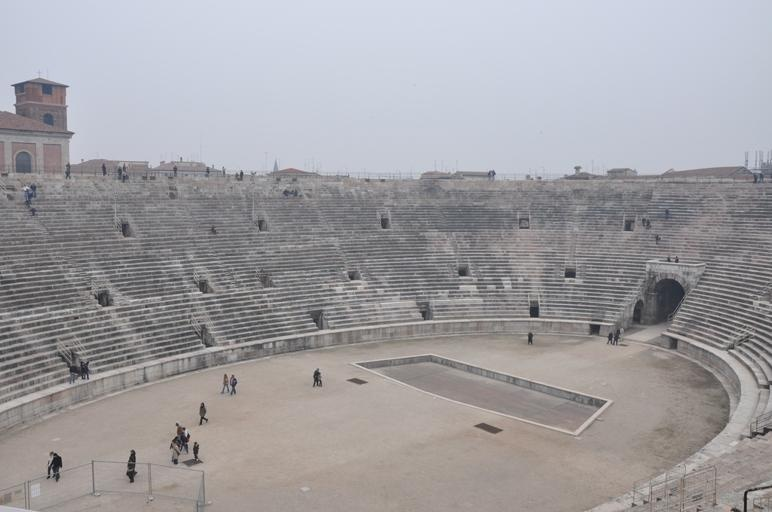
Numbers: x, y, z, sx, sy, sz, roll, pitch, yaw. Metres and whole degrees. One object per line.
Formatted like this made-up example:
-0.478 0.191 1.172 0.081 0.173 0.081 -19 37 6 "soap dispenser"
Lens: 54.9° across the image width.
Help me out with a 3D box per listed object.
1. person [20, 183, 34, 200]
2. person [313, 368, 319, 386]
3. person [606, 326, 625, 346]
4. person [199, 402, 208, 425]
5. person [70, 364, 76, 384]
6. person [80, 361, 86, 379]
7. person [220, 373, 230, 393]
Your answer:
-24.317 -4.313 50.380 0.572 1.033 1.298 -5 9 -25 "person"
-4.105 7.175 43.978 0.376 0.946 0.724 -2 9 -7 "person"
16.115 5.651 52.414 0.605 1.785 0.727 18 5 -29 "person"
-9.858 8.333 39.989 0.450 0.982 1.590 -3 9 -14 "person"
-17.683 6.651 42.052 0.492 0.891 0.842 -5 9 -23 "person"
-17.230 6.500 42.266 0.359 0.886 0.244 3 10 22 "person"
-9.410 7.393 43.388 0.405 0.937 1.186 -3 9 -12 "person"
